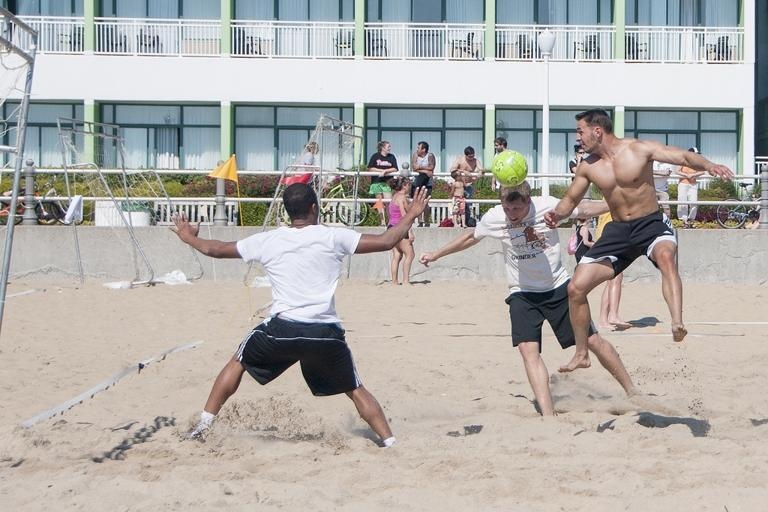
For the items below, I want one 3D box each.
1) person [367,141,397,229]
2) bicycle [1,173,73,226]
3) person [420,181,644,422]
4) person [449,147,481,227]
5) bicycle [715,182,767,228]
[{"bbox_3d":[-0.036,-1.554,20.936,0.600,1.680,0.563,1,6,0],"label":"person"},{"bbox_3d":[-7.438,-1.093,21.053,1.637,1.095,1.035,-2,26,-4],"label":"bicycle"},{"bbox_3d":[1.759,0.501,12.848,1.404,2.858,0.734,13,19,40],"label":"person"},{"bbox_3d":[1.701,-1.504,20.963,0.618,1.603,0.606,4,-12,-8],"label":"person"},{"bbox_3d":[7.812,-1.032,21.461,1.559,1.011,0.769,-1,3,19],"label":"bicycle"}]
